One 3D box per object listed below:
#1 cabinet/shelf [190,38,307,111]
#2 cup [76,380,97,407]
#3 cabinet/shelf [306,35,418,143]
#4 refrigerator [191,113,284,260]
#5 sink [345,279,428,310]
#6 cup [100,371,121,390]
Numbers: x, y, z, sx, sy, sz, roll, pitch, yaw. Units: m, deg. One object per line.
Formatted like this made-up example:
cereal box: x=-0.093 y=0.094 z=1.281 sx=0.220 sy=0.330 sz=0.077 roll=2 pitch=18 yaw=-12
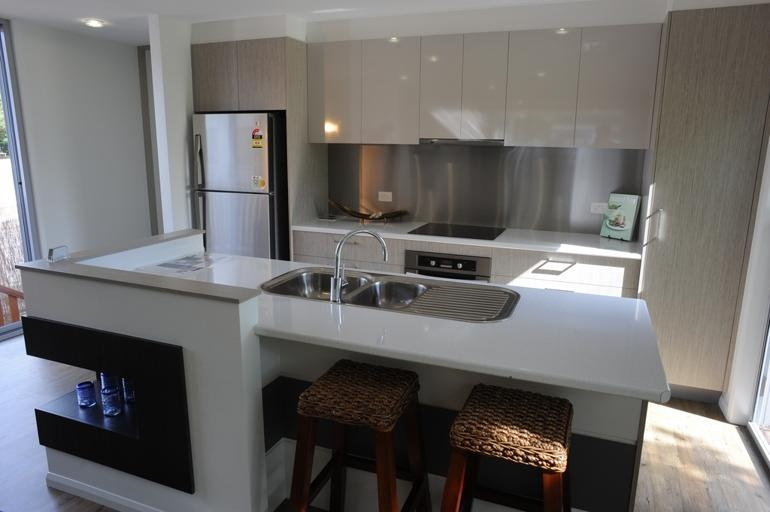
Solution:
cabinet/shelf: x=-1.279 y=-1.769 z=5.055 sx=0.710 sy=0.427 sz=0.242 roll=2 pitch=10 yaw=13
cup: x=-1.936 y=0.882 z=3.389 sx=0.114 sy=0.141 sz=0.183 roll=-10 pitch=18 yaw=-32
cabinet/shelf: x=-0.185 y=-1.638 z=5.035 sx=0.975 sy=0.847 sz=0.330 roll=3 pitch=11 yaw=16
refrigerator: x=-1.428 y=-0.693 z=5.190 sx=0.952 sy=1.421 sz=0.317 roll=5 pitch=16 yaw=17
sink: x=-0.034 y=0.266 z=3.346 sx=0.247 sy=0.124 sz=0.311 roll=6 pitch=14 yaw=23
cup: x=-1.698 y=0.768 z=3.237 sx=0.115 sy=0.133 sz=0.115 roll=4 pitch=14 yaw=-1
